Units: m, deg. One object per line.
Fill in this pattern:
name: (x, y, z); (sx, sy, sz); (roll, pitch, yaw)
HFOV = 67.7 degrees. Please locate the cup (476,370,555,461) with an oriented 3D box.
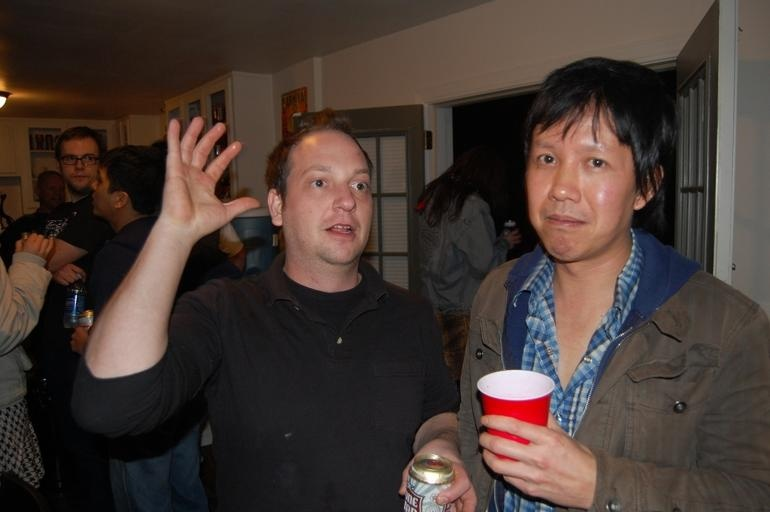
cup: (0.492, 0.526, 2.105); (0.303, 0.235, 0.283); (-3, 16, 1)

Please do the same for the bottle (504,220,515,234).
bottle: (1.022, -0.242, 4.697); (0.105, 0.115, 0.105); (-2, 8, 7)
